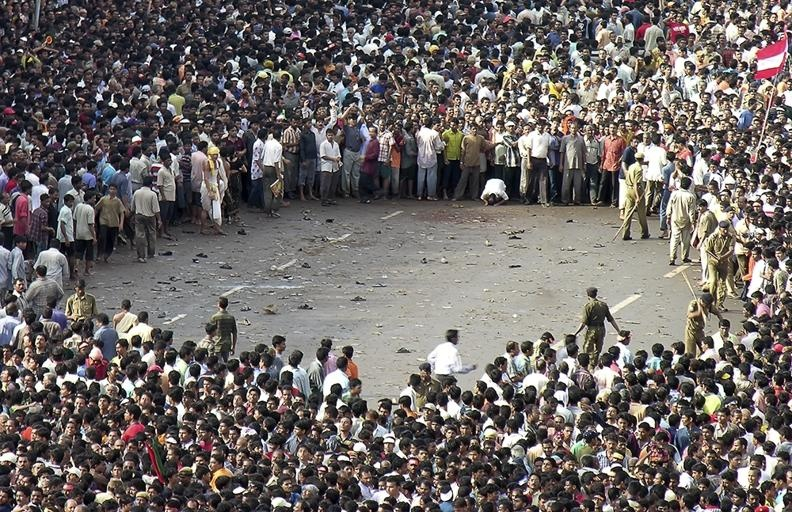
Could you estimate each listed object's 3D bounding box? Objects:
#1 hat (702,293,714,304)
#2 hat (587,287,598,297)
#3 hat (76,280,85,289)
[{"bbox_3d":[6.358,0.875,38.953,0.216,0.210,0.566,-1,3,11],"label":"hat"},{"bbox_3d":[3.987,0.752,38.644,0.209,0.213,0.222,3,29,12],"label":"hat"},{"bbox_3d":[-6.418,0.598,38.776,0.177,0.172,0.190,0,13,-1],"label":"hat"}]
